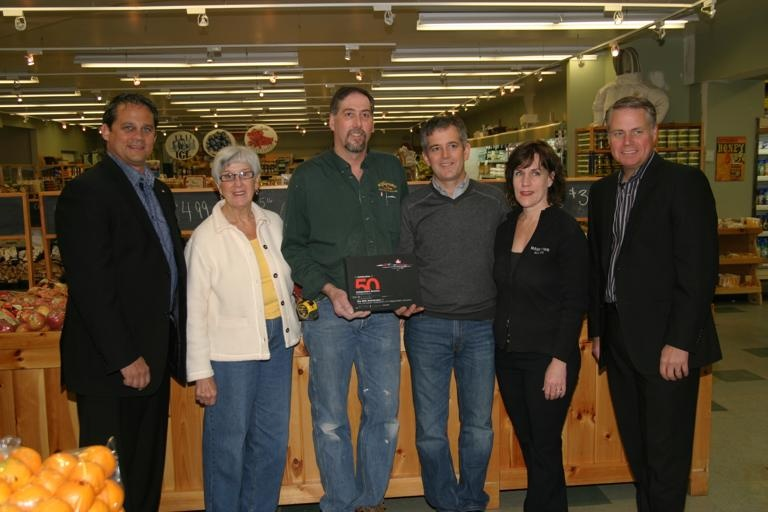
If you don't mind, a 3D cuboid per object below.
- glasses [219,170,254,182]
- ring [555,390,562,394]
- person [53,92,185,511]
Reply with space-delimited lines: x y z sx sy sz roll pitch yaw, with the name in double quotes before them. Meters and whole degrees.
"glasses" -0.959 -0.528 3.944 0.215 0.069 0.059 -5 7 -17
"ring" 1.130 0.871 3.875 0.024 0.024 0.006 1 5 -14
"person" -1.625 0.317 3.790 0.780 2.667 0.435 -7 8 -30
